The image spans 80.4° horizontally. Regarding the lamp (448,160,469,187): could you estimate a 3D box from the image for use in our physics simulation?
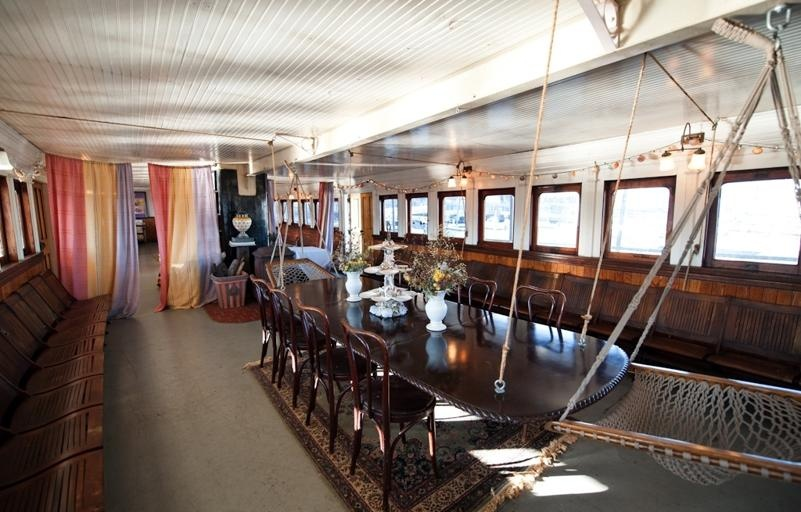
[{"bbox_3d":[1.012,-1.418,8.090,0.274,0.458,0.419,-2,8,-32],"label":"lamp"}]

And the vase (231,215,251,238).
[{"bbox_3d":[-2.938,-0.551,8.937,0.413,0.547,0.418,-1,6,-29],"label":"vase"}]

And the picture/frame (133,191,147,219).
[{"bbox_3d":[-9.743,-1.958,18.033,0.394,1.037,1.031,-3,9,-25],"label":"picture/frame"}]

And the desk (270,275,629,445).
[{"bbox_3d":[0.485,0.866,4.548,3.041,0.648,1.518,5,8,28],"label":"desk"}]
